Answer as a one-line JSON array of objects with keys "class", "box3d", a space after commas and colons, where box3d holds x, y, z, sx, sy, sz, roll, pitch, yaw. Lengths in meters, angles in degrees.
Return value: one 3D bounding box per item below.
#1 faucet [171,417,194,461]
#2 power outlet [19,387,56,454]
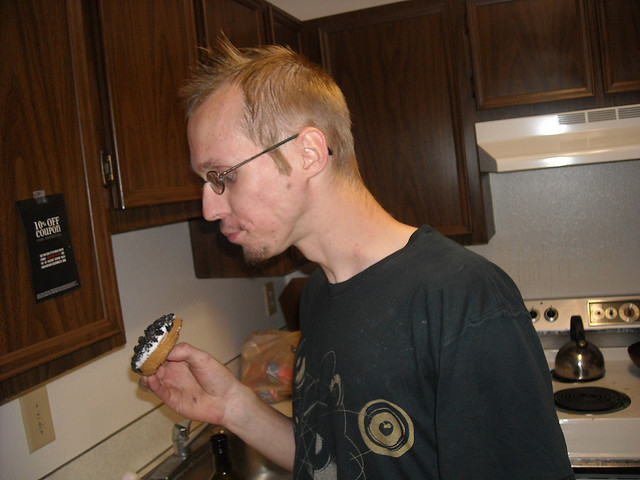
[{"class": "faucet", "box3d": [-0.460, 0.664, 1.713, 0.062, 0.122, 0.111, 3, 3, 11]}, {"class": "power outlet", "box3d": [-0.799, 0.512, 1.458, 0.012, 0.152, 0.086, -8, 2, 18]}]
